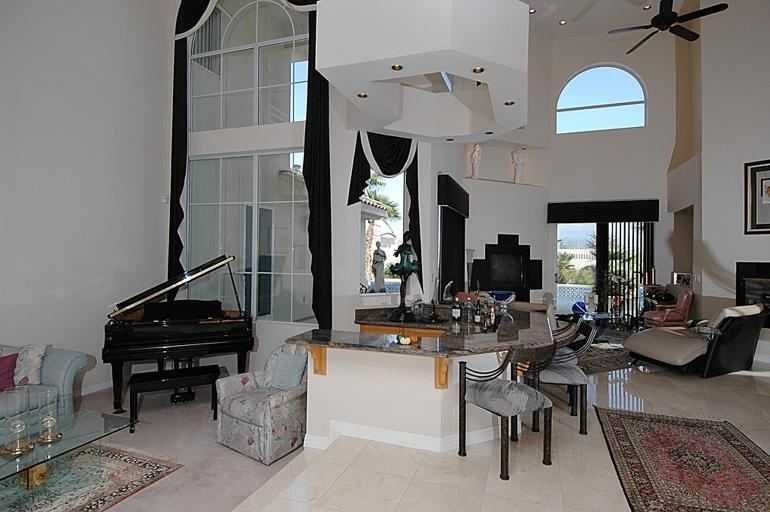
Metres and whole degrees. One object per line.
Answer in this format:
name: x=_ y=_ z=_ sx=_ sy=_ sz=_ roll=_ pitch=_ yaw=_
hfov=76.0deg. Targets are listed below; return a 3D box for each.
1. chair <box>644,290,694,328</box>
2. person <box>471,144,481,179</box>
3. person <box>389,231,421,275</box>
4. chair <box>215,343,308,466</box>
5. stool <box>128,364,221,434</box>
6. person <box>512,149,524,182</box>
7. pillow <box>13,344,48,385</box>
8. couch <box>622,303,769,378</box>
chair: x=6.190 y=1.134 z=10.878 sx=0.893 sy=1.034 sz=0.703 roll=-1 pitch=-1 yaw=20
person: x=2.202 y=-2.280 z=12.003 sx=0.216 sy=0.762 sz=0.934 roll=-1 pitch=0 yaw=9
person: x=0.320 y=-0.057 z=7.719 sx=0.415 sy=0.625 sz=1.293 roll=-1 pitch=-1 yaw=5
chair: x=-1.486 y=1.869 z=6.769 sx=1.324 sy=1.472 sz=1.361 roll=-1 pitch=-4 yaw=34
stool: x=-2.997 y=1.978 z=7.040 sx=1.173 sy=0.935 sz=0.442 roll=-1 pitch=0 yaw=-17
person: x=3.449 y=-2.342 z=12.739 sx=0.306 sy=0.787 sz=0.451 roll=-1 pitch=0 yaw=21
pillow: x=-4.820 y=1.495 z=6.740 sx=0.444 sy=0.432 sz=0.135 roll=2 pitch=-26 yaw=-5
couch: x=5.372 y=1.476 z=8.438 sx=1.824 sy=1.127 sz=1.264 roll=3 pitch=-6 yaw=-12
